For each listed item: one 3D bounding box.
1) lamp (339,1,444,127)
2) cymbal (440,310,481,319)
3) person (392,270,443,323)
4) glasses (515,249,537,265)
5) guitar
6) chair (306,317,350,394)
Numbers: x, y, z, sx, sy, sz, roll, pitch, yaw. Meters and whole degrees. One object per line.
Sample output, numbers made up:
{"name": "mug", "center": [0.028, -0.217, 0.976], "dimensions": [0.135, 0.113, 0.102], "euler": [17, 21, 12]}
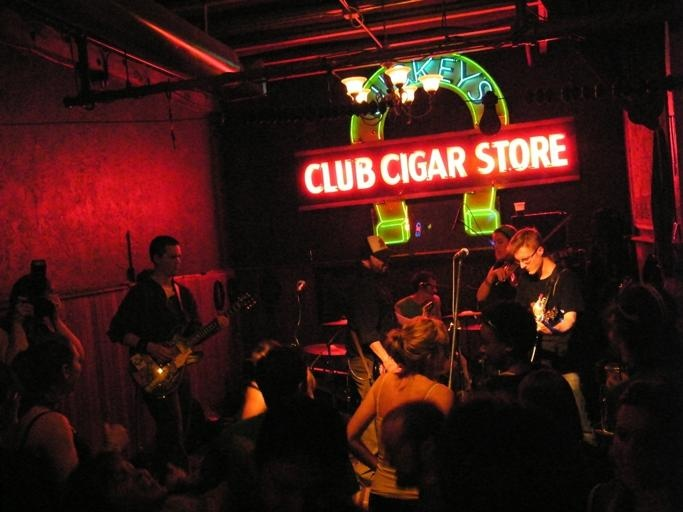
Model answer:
{"name": "lamp", "center": [0.607, -2.298, 7.669], "dimensions": [0.700, 1.435, 0.698], "euler": [-24, -30, -9]}
{"name": "cymbal", "center": [1.415, 0.691, 7.734], "dimensions": [0.475, 0.119, 0.486], "euler": [1, -4, -11]}
{"name": "person", "center": [0.836, 0.518, 7.604], "dimensions": [0.474, 0.886, 0.660], "euler": [0, -2, 26]}
{"name": "glasses", "center": [1.710, 0.011, 6.086], "dimensions": [0.142, 0.051, 0.152], "euler": [12, 11, 33]}
{"name": "guitar", "center": [-1.365, 0.789, 6.256], "dimensions": [0.156, 0.544, 1.375], "euler": [-9, 30, 52]}
{"name": "chair", "center": [-0.152, 1.242, 8.029], "dimensions": [0.435, 0.480, 0.398], "euler": [-7, -7, 38]}
